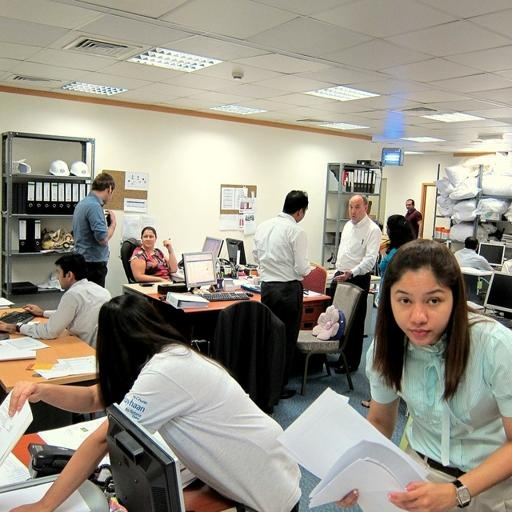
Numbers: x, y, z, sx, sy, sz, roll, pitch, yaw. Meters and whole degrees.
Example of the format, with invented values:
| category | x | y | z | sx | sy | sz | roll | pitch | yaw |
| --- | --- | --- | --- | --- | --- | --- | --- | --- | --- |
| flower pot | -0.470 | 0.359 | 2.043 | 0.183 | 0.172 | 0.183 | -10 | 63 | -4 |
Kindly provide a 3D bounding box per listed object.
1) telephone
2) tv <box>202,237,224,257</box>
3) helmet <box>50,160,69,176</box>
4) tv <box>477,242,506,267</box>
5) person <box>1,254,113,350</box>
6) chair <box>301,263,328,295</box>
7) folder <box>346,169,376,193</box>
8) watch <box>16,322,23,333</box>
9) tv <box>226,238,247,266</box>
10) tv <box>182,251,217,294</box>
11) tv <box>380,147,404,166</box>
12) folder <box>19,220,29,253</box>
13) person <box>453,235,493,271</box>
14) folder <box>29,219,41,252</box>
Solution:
| category | x | y | z | sx | sy | sz | roll | pitch | yaw |
| --- | --- | --- | --- | --- | --- | --- | --- | --- | --- |
| telephone | -0.613 | 0.618 | 1.230 | 0.140 | 0.087 | 0.100 | 21 | -6 | -26 |
| tv | -0.547 | -0.118 | 4.821 | 0.053 | 0.308 | 0.322 | 5 | -5 | -34 |
| helmet | -2.651 | -1.184 | 5.349 | 0.236 | 0.208 | 0.272 | -3 | 9 | -30 |
| tv | 4.012 | -0.019 | 6.749 | 0.043 | 0.481 | 0.372 | -1 | 2 | -31 |
| person | -1.766 | 0.355 | 3.393 | 0.651 | 1.044 | 0.456 | 10 | 10 | 0 |
| chair | 0.727 | 0.265 | 4.889 | 0.301 | 0.431 | 0.319 | -1 | 10 | -22 |
| folder | 2.133 | -1.564 | 8.239 | 0.480 | 0.499 | 0.254 | -3 | 4 | -35 |
| watch | -1.667 | 0.499 | 2.788 | 0.049 | 0.056 | 0.068 | 3 | 41 | -19 |
| tv | -0.306 | -0.054 | 5.685 | 0.210 | 0.416 | 0.340 | -17 | 22 | -40 |
| tv | -0.599 | 0.174 | 4.192 | 0.043 | 0.384 | 0.398 | -15 | -13 | 42 |
| tv | 3.007 | -2.212 | 8.770 | 0.447 | 0.396 | 0.469 | 5 | 8 | 19 |
| folder | -3.076 | -0.274 | 5.215 | 0.086 | 0.425 | 0.096 | 6 | 9 | 32 |
| person | 3.437 | -0.052 | 6.194 | 0.381 | 0.280 | 0.849 | 15 | -29 | 20 |
| folder | -2.922 | -0.278 | 5.275 | 0.126 | 0.428 | 0.082 | -5 | 10 | -42 |
